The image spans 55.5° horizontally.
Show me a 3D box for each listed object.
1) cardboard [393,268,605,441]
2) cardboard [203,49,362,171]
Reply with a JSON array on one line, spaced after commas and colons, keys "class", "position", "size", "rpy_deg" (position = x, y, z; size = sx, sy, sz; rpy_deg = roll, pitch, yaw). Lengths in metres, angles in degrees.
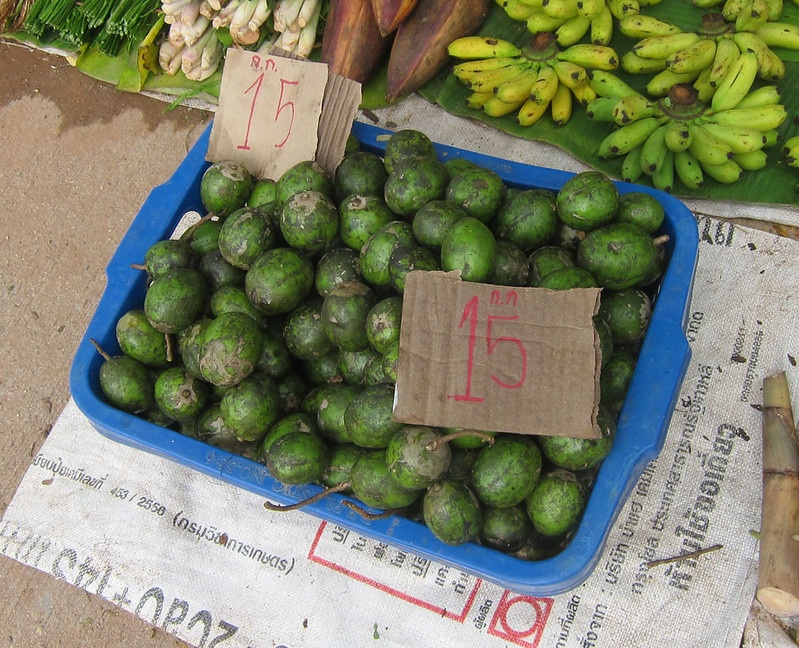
[{"class": "cardboard", "position": [0.389, 0.104, 2.893], "size": [0.774, 0.185, 0.579], "rpy_deg": [6, 72, 1]}, {"class": "cardboard", "position": [-0.568, -1.000, 3.619], "size": [0.584, 0.168, 0.661], "rpy_deg": [19, 104, 12]}]
